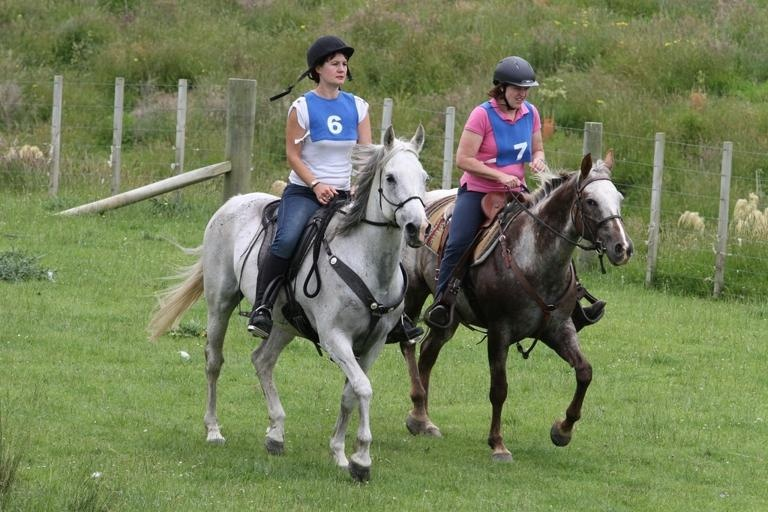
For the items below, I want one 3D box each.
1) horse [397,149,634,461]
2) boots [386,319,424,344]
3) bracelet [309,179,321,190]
[{"bbox_3d":[2.765,0.909,32.695,4.403,6.241,1.570,4,4,13],"label":"horse"},{"bbox_3d":[0.270,1.500,32.305,0.958,0.447,0.341,-6,1,31],"label":"boots"},{"bbox_3d":[-1.360,-1.418,31.767,0.144,0.061,0.163,-25,-22,-39],"label":"bracelet"}]
